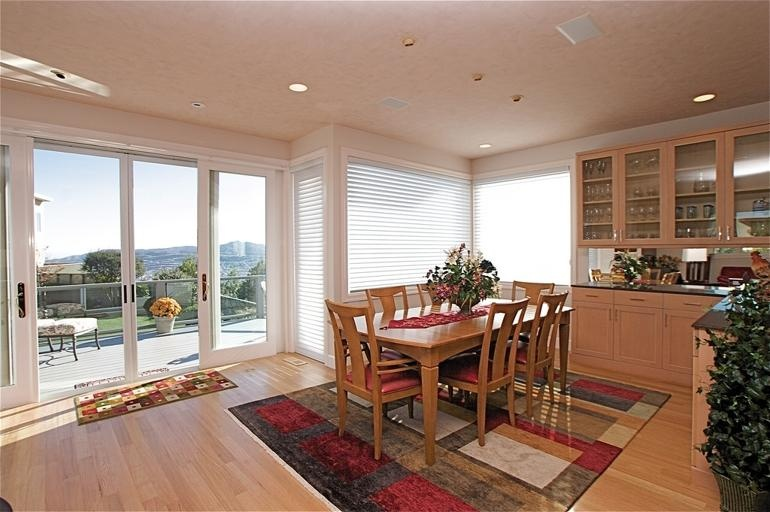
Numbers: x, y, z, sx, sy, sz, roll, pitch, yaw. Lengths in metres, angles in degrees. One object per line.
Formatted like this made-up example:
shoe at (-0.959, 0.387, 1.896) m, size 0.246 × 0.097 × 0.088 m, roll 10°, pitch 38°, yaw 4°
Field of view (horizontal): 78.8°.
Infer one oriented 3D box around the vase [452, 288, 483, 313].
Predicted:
vase at (0.932, 0.486, 5.225) m, size 0.352 × 0.155 × 0.315 m, roll -1°, pitch 1°, yaw 23°

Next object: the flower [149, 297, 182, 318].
flower at (-2.895, 0.679, 6.155) m, size 0.305 × 0.181 × 0.322 m, roll 2°, pitch -3°, yaw -31°

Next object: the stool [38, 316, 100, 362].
stool at (-3.874, 0.932, 5.722) m, size 0.691 × 0.241 × 0.412 m, roll 2°, pitch 18°, yaw 19°

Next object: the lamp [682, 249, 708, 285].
lamp at (3.964, 0.111, 5.961) m, size 0.279 × 0.393 × 0.065 m, roll -3°, pitch 0°, yaw 21°

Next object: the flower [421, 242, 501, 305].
flower at (0.788, 0.207, 5.483) m, size 0.923 × 0.644 × 0.841 m, roll 0°, pitch 1°, yaw -18°

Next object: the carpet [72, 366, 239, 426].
carpet at (-2.777, 1.651, 5.638) m, size 1.640 × 0.243 × 0.826 m, roll -1°, pitch -1°, yaw -30°

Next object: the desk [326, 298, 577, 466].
desk at (0.610, 0.881, 4.920) m, size 3.080 × 1.063 × 1.744 m, roll 0°, pitch 0°, yaw -43°

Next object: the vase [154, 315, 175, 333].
vase at (-2.925, 0.913, 6.193) m, size 0.260 × 0.147 × 0.232 m, roll 0°, pitch -5°, yaw 2°
